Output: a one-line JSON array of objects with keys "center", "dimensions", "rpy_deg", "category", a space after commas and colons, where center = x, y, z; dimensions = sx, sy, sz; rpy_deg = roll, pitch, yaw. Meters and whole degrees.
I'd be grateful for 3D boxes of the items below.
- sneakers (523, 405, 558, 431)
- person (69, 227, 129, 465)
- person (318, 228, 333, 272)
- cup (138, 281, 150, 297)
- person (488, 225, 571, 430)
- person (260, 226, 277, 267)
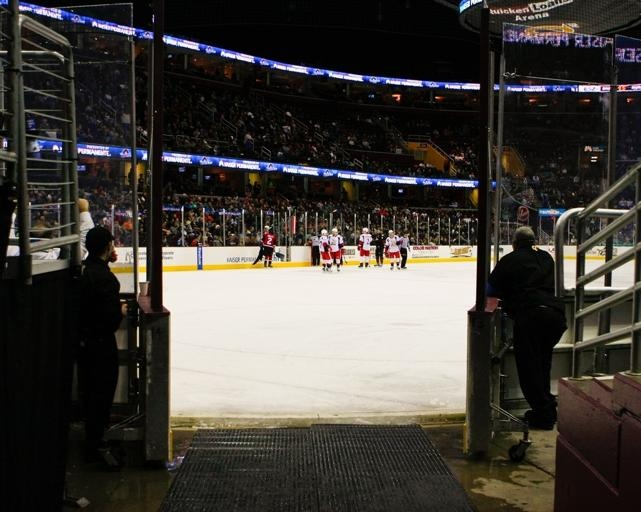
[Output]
[{"center": [1.714, 1.291, 5.484], "dimensions": [0.245, 0.220, 0.277], "rpy_deg": [-1, 2, 17], "category": "sneakers"}, {"center": [-1.540, 0.618, 4.869], "dimensions": [0.290, 1.635, 0.336], "rpy_deg": [-3, 2, -22], "category": "person"}, {"center": [0.160, -0.201, 24.040], "dimensions": [0.335, 1.436, 1.227], "rpy_deg": [-2, 2, -2], "category": "person"}, {"center": [-1.412, 0.256, 5.603], "dimensions": [0.094, 0.081, 0.100], "rpy_deg": [-1, -3, 0], "category": "cup"}, {"center": [1.650, 0.653, 5.513], "dimensions": [0.503, 1.397, 0.416], "rpy_deg": [-3, 3, -32], "category": "person"}, {"center": [-1.920, -0.343, 25.593], "dimensions": [0.516, 1.508, 1.006], "rpy_deg": [-2, 2, -5], "category": "person"}]
